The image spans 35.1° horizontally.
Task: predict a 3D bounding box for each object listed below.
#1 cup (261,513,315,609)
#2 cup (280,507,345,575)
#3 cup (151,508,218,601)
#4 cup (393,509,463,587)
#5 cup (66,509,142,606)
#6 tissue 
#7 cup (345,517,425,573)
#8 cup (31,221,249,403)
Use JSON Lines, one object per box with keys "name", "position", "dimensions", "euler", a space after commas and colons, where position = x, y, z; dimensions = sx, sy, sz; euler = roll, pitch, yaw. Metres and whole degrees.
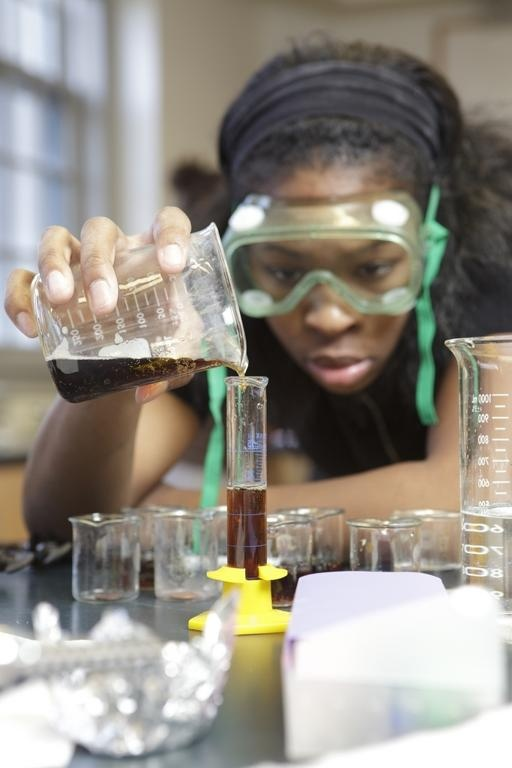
{"name": "cup", "position": [0.028, 0.186, 0.829], "dimensions": [0.060, 0.082, 0.083], "euler": [-9, -14, 21]}
{"name": "cup", "position": [0.050, 0.168, 0.878], "dimensions": [0.084, 0.065, 0.075], "euler": [0, -6, -2]}
{"name": "cup", "position": [-0.077, 0.182, 0.878], "dimensions": [0.070, 0.087, 0.084], "euler": [-7, 2, 22]}
{"name": "cup", "position": [0.201, 0.185, 0.928], "dimensions": [0.094, 0.078, 0.080], "euler": [0, -1, -11]}
{"name": "cup", "position": [-0.154, 0.185, 0.857], "dimensions": [0.093, 0.081, 0.072], "euler": [-2, -13, 2]}
{"name": "tissue ", "position": [0.091, 0.175, 0.534], "dimensions": [0.104, 0.033, 0.124], "euler": [0, 3, 13]}
{"name": "cup", "position": [0.125, 0.156, 0.781], "dimensions": [0.065, 0.052, 0.055], "euler": [1, -6, -12]}
{"name": "cup", "position": [-0.094, -0.034, 0.802], "dimensions": [0.157, 0.194, 0.122], "euler": [-13, -39, 16]}
